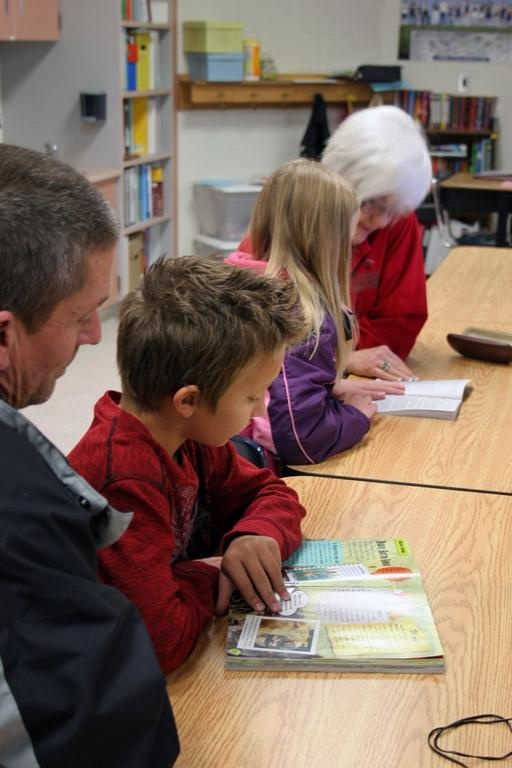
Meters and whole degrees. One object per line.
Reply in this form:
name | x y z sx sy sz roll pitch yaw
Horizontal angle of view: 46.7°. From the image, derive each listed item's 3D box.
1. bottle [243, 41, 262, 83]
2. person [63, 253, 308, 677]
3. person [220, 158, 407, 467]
bottle | -0.012 -2.803 5.163 0.191 0.298 0.112 -15 20 -37
person | -0.110 0.194 1.058 0.409 0.775 0.393 9 19 0
person | 0.150 -0.237 1.709 0.502 0.788 0.560 9 37 18
